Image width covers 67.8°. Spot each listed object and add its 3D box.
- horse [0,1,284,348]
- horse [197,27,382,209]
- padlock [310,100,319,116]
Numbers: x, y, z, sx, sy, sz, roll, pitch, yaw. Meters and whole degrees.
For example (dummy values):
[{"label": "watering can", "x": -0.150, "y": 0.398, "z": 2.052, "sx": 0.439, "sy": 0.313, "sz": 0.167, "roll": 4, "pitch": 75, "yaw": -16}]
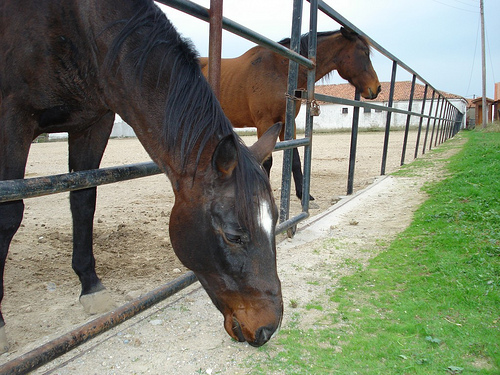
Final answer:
[{"label": "horse", "x": -0.829, "y": -0.457, "z": 2.812, "sx": 3.077, "sy": 1.907, "sz": 0.842, "roll": 14, "pitch": 15, "yaw": 42}, {"label": "horse", "x": 0.044, "y": -1.040, "z": 5.539, "sx": 3.325, "sy": 2.460, "sz": 0.878, "roll": 6, "pitch": 13, "yaw": 25}, {"label": "padlock", "x": 0.561, "y": -0.713, "z": 3.345, "sx": 0.075, "sy": 0.154, "sz": 0.083, "roll": 7, "pitch": -13, "yaw": -1}]
